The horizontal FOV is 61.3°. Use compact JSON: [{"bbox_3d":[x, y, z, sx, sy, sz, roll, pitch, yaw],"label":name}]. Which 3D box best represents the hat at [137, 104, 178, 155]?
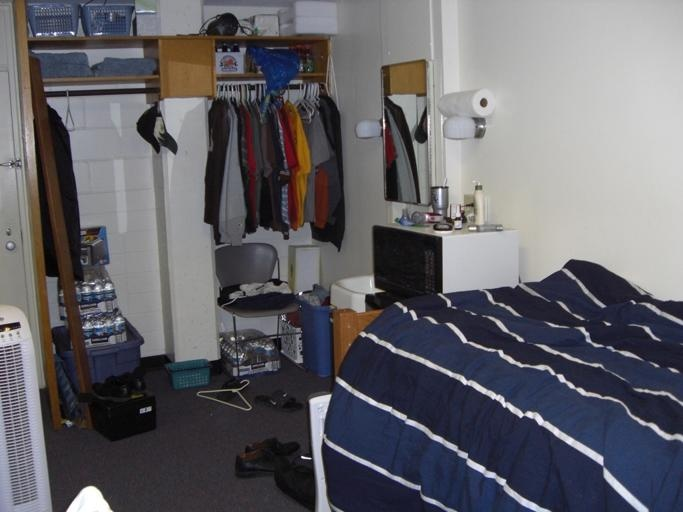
[{"bbox_3d":[-1.420,-0.987,4.465,0.155,0.391,0.463,-10,15,-40],"label":"hat"}]

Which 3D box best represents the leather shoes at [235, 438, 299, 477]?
[{"bbox_3d":[-0.439,1.159,3.370,0.233,0.096,0.181,-4,2,-23],"label":"leather shoes"}]

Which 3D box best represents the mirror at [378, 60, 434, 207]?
[{"bbox_3d":[0.436,-0.825,3.933,0.131,0.958,0.583,-6,12,-23],"label":"mirror"}]

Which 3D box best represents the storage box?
[{"bbox_3d":[-1.633,0.853,3.979,0.570,0.515,0.804,-7,13,-27],"label":"storage box"}]

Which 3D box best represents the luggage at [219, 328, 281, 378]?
[{"bbox_3d":[-0.772,0.759,4.810,0.463,0.305,0.489,-5,13,-19],"label":"luggage"}]

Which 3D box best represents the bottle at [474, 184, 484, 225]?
[{"bbox_3d":[0.830,-0.315,3.431,0.067,0.228,0.351,2,12,14],"label":"bottle"}]

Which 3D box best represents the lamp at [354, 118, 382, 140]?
[{"bbox_3d":[0.211,-0.906,4.084,0.142,0.121,0.217,6,14,32],"label":"lamp"}]

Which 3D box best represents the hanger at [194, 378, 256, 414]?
[{"bbox_3d":[-0.863,1.035,4.256,0.407,0.036,0.571,-4,13,-13],"label":"hanger"}]

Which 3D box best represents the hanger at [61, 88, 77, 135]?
[{"bbox_3d":[-2.165,-1.131,4.593,0.089,0.264,0.039,-8,13,-31],"label":"hanger"}]

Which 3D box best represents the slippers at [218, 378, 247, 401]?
[{"bbox_3d":[-0.808,1.001,4.385,0.091,0.126,0.302,9,5,20],"label":"slippers"}]

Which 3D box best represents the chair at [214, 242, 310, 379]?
[{"bbox_3d":[-0.718,0.388,4.941,0.780,1.419,0.955,-6,12,-23],"label":"chair"}]

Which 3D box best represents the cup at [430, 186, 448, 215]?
[{"bbox_3d":[0.607,-0.331,3.504,0.091,0.174,0.125,0,11,5],"label":"cup"}]

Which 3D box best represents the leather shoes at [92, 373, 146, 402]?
[{"bbox_3d":[-1.452,0.859,3.801,0.239,0.109,0.183,-6,1,-29],"label":"leather shoes"}]

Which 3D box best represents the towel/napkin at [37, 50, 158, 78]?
[{"bbox_3d":[-1.822,-1.423,4.302,0.853,0.196,0.140,-4,12,-12],"label":"towel/napkin"}]

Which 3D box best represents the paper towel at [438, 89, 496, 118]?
[{"bbox_3d":[0.730,-0.894,3.390,0.328,0.150,0.186,3,13,21],"label":"paper towel"}]

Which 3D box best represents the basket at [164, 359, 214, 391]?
[{"bbox_3d":[-1.181,0.908,4.473,0.265,0.139,0.194,-4,6,-17],"label":"basket"}]

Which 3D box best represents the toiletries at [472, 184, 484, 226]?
[{"bbox_3d":[0.839,-0.321,3.449,0.057,0.247,0.055,-8,0,-30],"label":"toiletries"}]

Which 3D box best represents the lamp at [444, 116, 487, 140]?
[{"bbox_3d":[0.739,-0.752,3.430,0.229,0.158,0.141,-3,2,-29],"label":"lamp"}]
